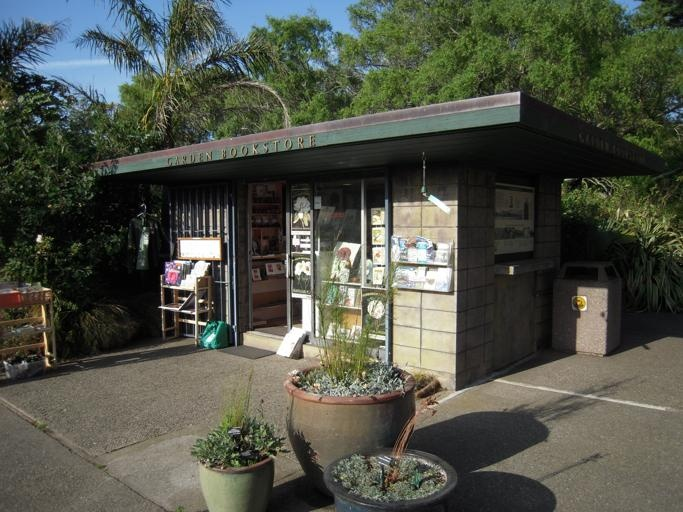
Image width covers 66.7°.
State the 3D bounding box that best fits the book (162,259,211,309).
[{"bbox_3d":[-3.012,0.540,10.112,0.861,0.956,0.341,-1,-1,40],"label":"book"}]

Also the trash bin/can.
[{"bbox_3d":[4.155,0.885,8.851,1.058,1.484,0.712,3,8,27],"label":"trash bin/can"}]

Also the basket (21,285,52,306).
[{"bbox_3d":[-4.788,0.632,8.094,0.290,0.141,0.304,2,1,29],"label":"basket"}]

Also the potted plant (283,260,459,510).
[{"bbox_3d":[-0.056,1.222,6.086,1.688,3.173,1.802,1,-2,-28],"label":"potted plant"}]

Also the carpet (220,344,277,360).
[{"bbox_3d":[-1.660,1.710,9.178,1.007,0.047,0.577,6,10,38],"label":"carpet"}]

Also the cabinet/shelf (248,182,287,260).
[{"bbox_3d":[-1.734,-0.864,12.320,0.519,1.634,1.150,6,10,43],"label":"cabinet/shelf"}]

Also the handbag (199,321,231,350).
[{"bbox_3d":[-2.365,1.443,9.757,0.640,0.698,0.411,-1,-6,36],"label":"handbag"}]

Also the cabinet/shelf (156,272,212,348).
[{"bbox_3d":[-3.050,1.079,10.122,1.231,1.395,0.522,-1,-1,42],"label":"cabinet/shelf"}]
